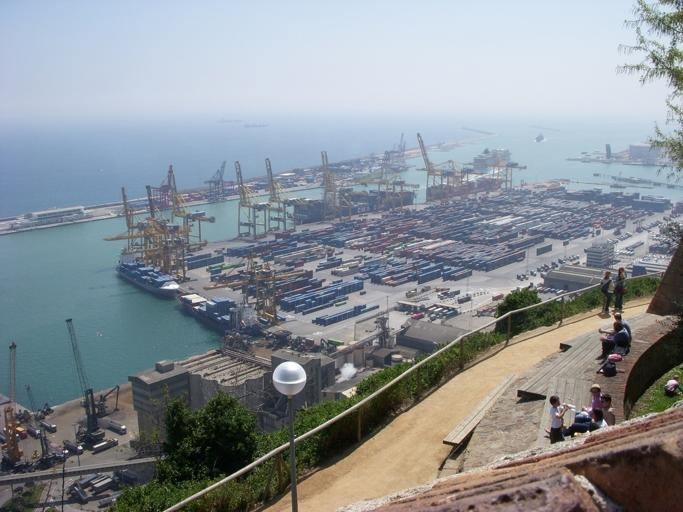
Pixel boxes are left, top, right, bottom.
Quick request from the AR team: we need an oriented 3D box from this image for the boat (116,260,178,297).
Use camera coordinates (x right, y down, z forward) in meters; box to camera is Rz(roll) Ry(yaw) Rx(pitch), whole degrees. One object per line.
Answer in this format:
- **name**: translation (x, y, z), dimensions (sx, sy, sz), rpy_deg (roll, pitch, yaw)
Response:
- **boat**: translation (-15.004, 1.800, 49.989), dimensions (2.222, 1.873, 8.855), rpy_deg (-12, 11, -36)

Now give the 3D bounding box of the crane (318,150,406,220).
- **crane**: translation (2.806, -6.613, 74.534), dimensions (11.616, 9.201, 9.935), rpy_deg (5, 8, -2)

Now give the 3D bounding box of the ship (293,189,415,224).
- **ship**: translation (1.323, -5.890, 73.276), dimensions (17.160, 2.922, 2.781), rpy_deg (-9, 4, -28)

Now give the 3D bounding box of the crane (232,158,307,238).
- **crane**: translation (-8.766, -4.481, 68.716), dimensions (7.885, 9.684, 9.025), rpy_deg (6, 11, 35)

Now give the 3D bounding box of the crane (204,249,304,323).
- **crane**: translation (-5.068, 2.906, 43.080), dimensions (5.643, 4.526, 5.199), rpy_deg (4, 6, 39)

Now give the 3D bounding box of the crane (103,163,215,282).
- **crane**: translation (-15.543, -1.881, 57.782), dimensions (8.801, 12.966, 11.017), rpy_deg (5, 9, 37)

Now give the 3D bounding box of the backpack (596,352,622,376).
- **backpack**: translation (3.008, 1.219, 7.236), dimensions (0.222, 0.264, 0.117), rpy_deg (6, 44, -34)
